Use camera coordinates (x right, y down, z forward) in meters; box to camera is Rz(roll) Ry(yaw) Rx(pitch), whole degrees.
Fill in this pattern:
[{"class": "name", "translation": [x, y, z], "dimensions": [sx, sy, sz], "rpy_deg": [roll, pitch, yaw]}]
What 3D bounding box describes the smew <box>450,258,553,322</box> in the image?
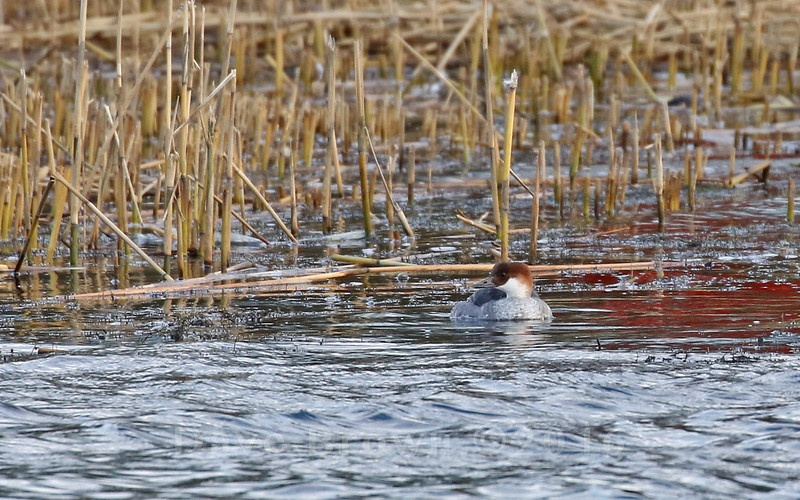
[{"class": "smew", "translation": [0.857, 0.364, 8.573], "dimensions": [0.604, 0.398, 0.712], "rpy_deg": [0, -1, -1]}]
